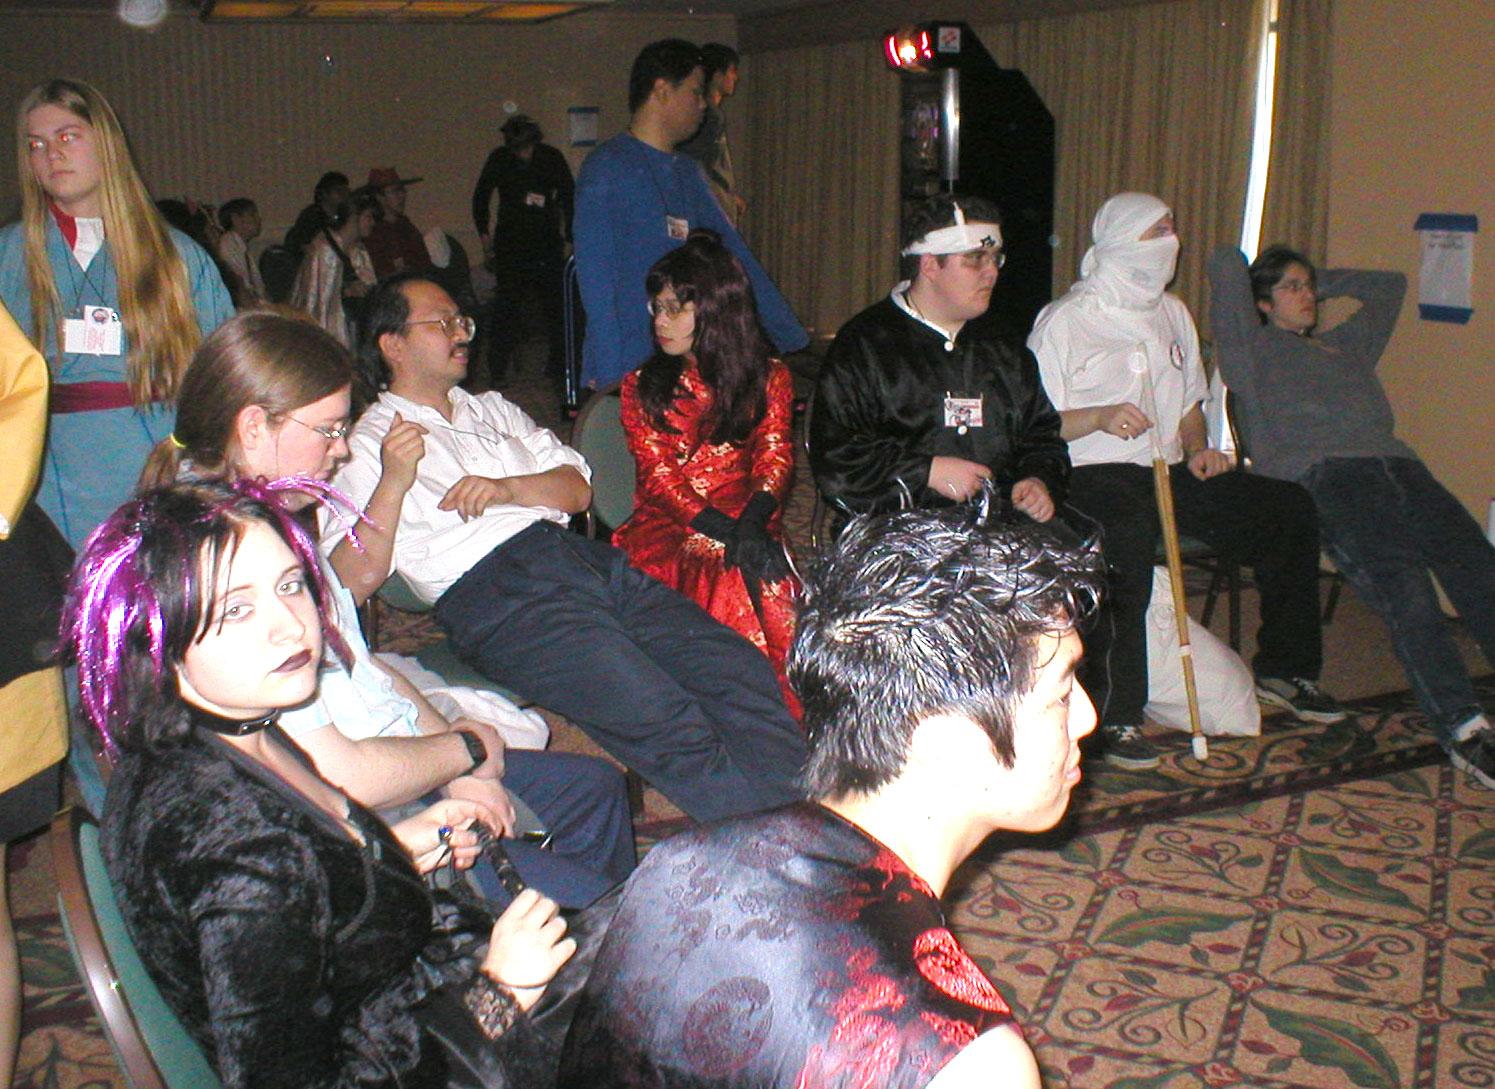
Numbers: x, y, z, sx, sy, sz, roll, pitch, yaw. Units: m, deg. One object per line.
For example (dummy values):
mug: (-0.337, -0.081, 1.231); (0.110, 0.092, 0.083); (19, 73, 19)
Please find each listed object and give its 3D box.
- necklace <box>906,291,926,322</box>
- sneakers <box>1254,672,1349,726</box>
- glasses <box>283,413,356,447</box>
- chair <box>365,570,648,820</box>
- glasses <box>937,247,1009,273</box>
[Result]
necklace: (0.566, -0.793, 3.880); (0.030, 0.085, 0.070); (-19, 2, 1)
sneakers: (2.061, 0.571, 4.375); (0.124, 0.142, 0.333); (-23, 30, -35)
glasses: (-0.839, -0.228, 2.283); (0.029, 0.076, 0.125); (7, 21, 29)
chair: (-0.557, 0.343, 2.761); (0.576, 0.368, 0.320); (35, 32, 4)
glasses: (0.725, -0.928, 3.781); (0.150, 0.046, 0.151); (4, 4, 39)
